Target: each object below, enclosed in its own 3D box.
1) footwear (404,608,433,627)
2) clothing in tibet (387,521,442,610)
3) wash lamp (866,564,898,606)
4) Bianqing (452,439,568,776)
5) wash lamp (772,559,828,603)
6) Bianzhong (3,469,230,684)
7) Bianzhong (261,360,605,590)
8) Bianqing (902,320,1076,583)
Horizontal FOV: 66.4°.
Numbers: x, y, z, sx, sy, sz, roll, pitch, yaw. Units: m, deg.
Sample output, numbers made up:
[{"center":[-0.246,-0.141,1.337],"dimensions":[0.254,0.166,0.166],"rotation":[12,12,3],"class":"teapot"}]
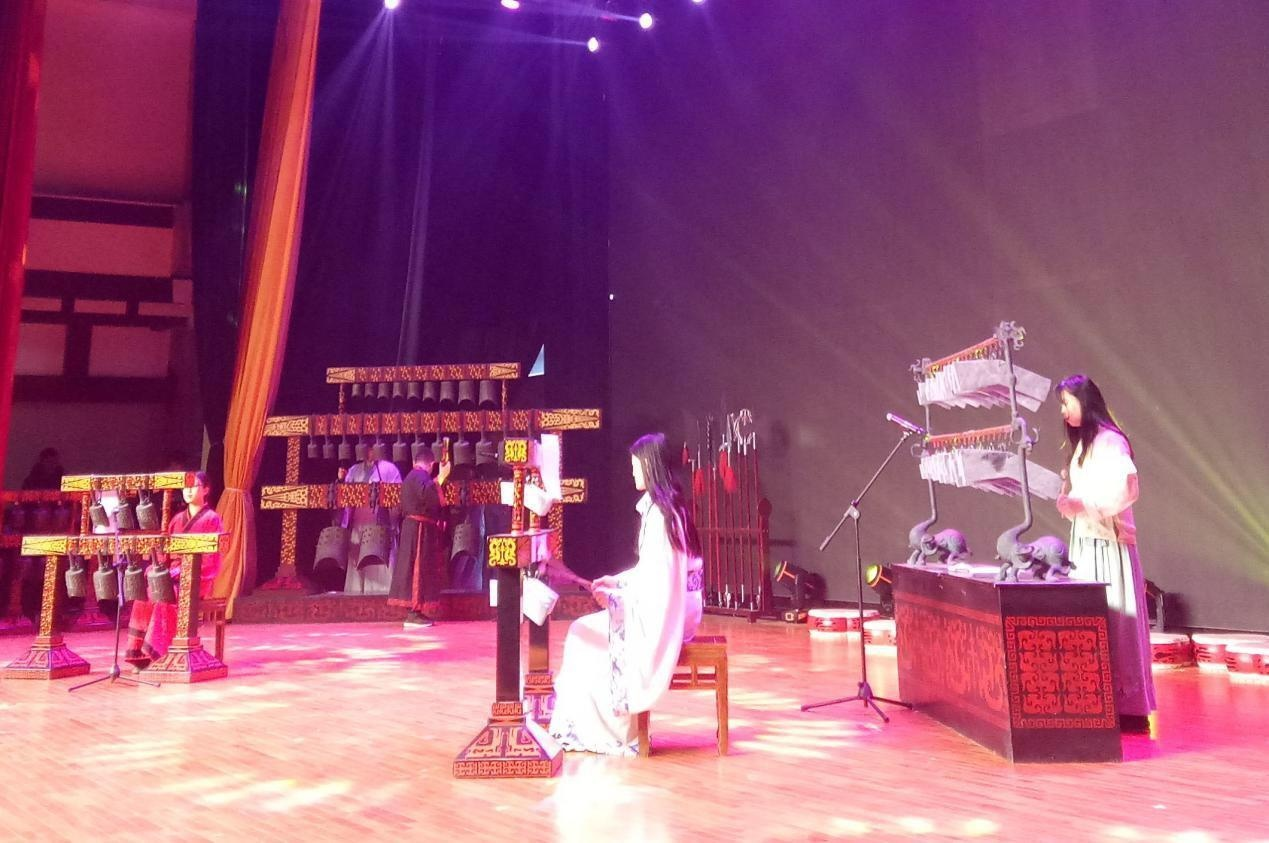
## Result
[{"center":[-2.351,2.130,10.578],"dimensions":[0.272,0.201,0.184],"rotation":[0,-2,-4],"class":"footwear"},{"center":[-2.370,1.592,10.519],"dimensions":[0.568,1.082,0.266],"rotation":[-2,4,-17],"class":"clothing in tibet"},{"center":[2.522,1.689,9.935],"dimensions":[0.220,0.542,0.710],"rotation":[1,4,18],"class":"wash lamp"},{"center":[-0.806,1.243,6.551],"dimensions":[0.883,2.117,0.863],"rotation":[2,-5,-28],"class":"Bianqing"},{"center":[1.839,1.815,10.818],"dimensions":[0.471,0.492,0.434],"rotation":[-3,4,-28],"class":"wash lamp"},{"center":[-4.348,1.321,8.437],"dimensions":[1.649,1.801,0.643],"rotation":[0,3,4],"class":"Bianzhong"},{"center":[-2.425,0.714,11.091],"dimensions":[3.879,2.833,0.573],"rotation":[-1,-17,-4],"class":"Bianzhong"},{"center":[2.569,0.241,7.225],"dimensions":[0.608,1.773,1.644],"rotation":[-2,-3,-7],"class":"Bianqing"}]
